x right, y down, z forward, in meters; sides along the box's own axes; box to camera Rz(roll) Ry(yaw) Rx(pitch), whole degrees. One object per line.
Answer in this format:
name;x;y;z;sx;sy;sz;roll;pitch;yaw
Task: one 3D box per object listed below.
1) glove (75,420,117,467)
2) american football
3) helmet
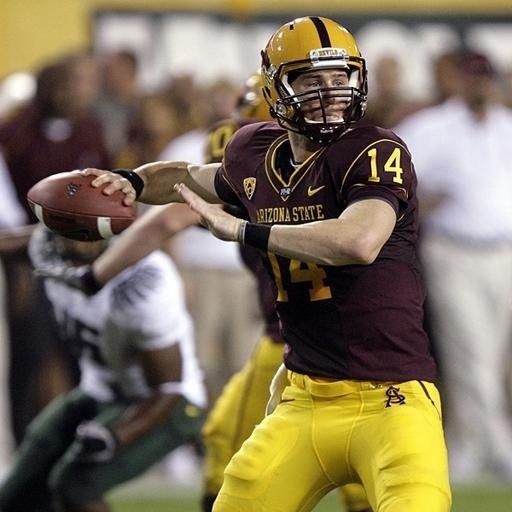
glove;-0.662;0.796;3.033;0.147;0.158;0.147;-6;12;-9
american football;-0.455;-0.130;1.837;0.260;0.149;0.126;11;29;20
helmet;0.156;-0.472;1.788;0.261;0.289;0.263;3;17;19
